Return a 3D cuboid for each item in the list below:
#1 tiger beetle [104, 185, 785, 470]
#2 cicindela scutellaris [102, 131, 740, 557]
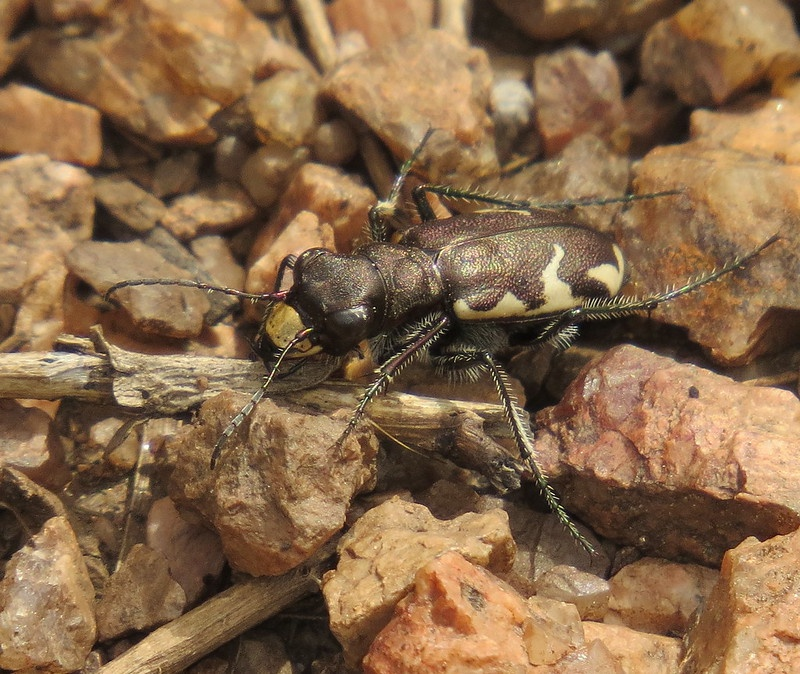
[{"bbox_3d":[-0.216,-0.306,7.646,2.723,3.026,1.782,6,101,41],"label":"tiger beetle"},{"bbox_3d":[0.310,-0.227,6.890,2.383,1.036,1.357,0,83,2],"label":"cicindela scutellaris"}]
